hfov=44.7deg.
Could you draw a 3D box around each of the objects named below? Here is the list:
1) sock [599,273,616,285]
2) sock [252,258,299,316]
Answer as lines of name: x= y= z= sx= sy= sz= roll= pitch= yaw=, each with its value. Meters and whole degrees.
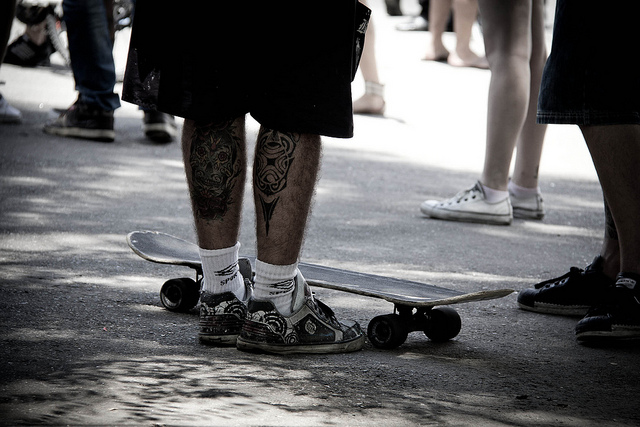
sock: x=1.375 y=0.311 z=3.730 sx=0.067 sy=0.043 sz=0.049 roll=18 pitch=25 yaw=33
sock: x=-0.178 y=0.290 z=3.128 sx=0.179 sy=0.208 sz=0.096 roll=2 pitch=21 yaw=-5
